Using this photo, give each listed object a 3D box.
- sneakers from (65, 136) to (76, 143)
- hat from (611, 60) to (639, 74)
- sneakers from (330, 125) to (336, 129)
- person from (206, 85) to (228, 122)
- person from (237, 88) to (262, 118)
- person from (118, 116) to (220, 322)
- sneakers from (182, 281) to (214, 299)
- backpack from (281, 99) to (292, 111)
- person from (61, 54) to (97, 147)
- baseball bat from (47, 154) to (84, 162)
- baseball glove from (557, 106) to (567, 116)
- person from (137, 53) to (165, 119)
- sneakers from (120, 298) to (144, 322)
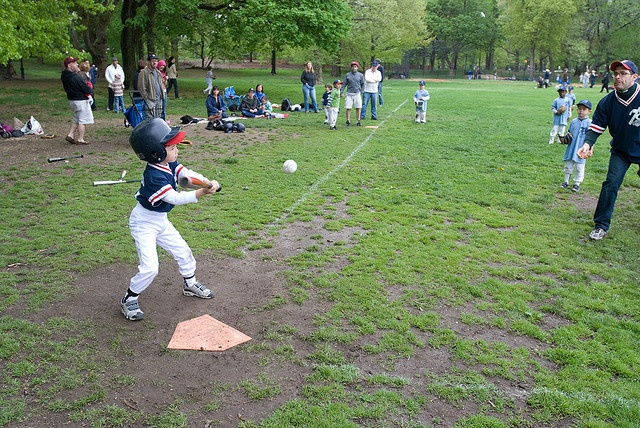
[{"bbox_3d":[-7.142,-2.118,15.096,0.121,0.112,0.304,-34,-8,-5],"label":"sneakers"},{"bbox_3d":[5.656,-2.753,9.882,0.711,0.232,0.329,-9,21,-34],"label":"hat"},{"bbox_3d":[0.436,-3.070,18.677,0.136,0.159,0.362,-3,3,-7],"label":"sneakers"},{"bbox_3d":[-3.729,-4.013,18.988,0.685,1.071,1.905,0,18,-12],"label":"person"},{"bbox_3d":[-2.820,-4.537,21.603,0.984,1.121,1.169,-17,32,-41],"label":"person"},{"bbox_3d":[-2.399,0.069,8.051,1.355,2.936,0.867,-3,19,-20],"label":"person"},{"bbox_3d":[-1.941,1.219,8.525,0.521,0.226,0.211,5,13,-1],"label":"sneakers"},{"bbox_3d":[-1.547,-4.917,23.841,0.427,0.497,0.495,2,18,-6],"label":"backpack"},{"bbox_3d":[-6.850,-3.142,14.899,0.745,2.416,0.466,-5,20,-24],"label":"person"},{"bbox_3d":[-6.634,-1.438,13.753,0.133,0.105,0.735,-39,-15,36],"label":"baseball bat"},{"bbox_3d":[7.292,-3.133,15.983,0.183,0.176,0.054,6,18,-32],"label":"baseball glove"},{"bbox_3d":[-4.921,-3.664,15.455,0.741,1.876,1.214,-2,19,-16],"label":"person"},{"bbox_3d":[-2.850,1.451,7.970,0.456,0.203,0.187,14,12,38],"label":"sneakers"}]
